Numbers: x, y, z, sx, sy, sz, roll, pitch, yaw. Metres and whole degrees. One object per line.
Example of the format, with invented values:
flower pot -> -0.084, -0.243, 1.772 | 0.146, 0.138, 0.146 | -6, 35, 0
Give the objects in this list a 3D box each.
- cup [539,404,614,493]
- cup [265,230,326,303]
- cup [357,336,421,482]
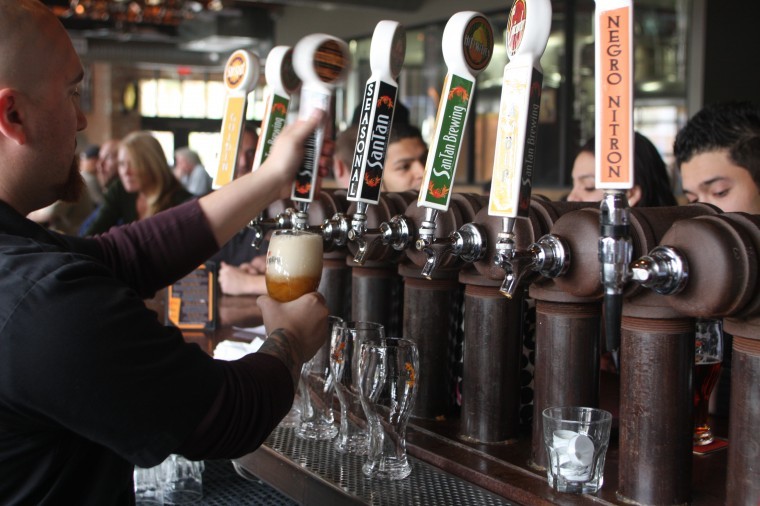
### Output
cup -> 0.428, 0.423, 1.470 | 0.137, 0.176, 0.122 | -2, 14, 11
cup -> -0.208, 0.039, 1.642 | 0.140, 0.197, 0.142 | 4, 6, 0
cup -> 0.021, 0.366, 1.574 | 0.144, 0.311, 0.144 | -4, 13, 1
